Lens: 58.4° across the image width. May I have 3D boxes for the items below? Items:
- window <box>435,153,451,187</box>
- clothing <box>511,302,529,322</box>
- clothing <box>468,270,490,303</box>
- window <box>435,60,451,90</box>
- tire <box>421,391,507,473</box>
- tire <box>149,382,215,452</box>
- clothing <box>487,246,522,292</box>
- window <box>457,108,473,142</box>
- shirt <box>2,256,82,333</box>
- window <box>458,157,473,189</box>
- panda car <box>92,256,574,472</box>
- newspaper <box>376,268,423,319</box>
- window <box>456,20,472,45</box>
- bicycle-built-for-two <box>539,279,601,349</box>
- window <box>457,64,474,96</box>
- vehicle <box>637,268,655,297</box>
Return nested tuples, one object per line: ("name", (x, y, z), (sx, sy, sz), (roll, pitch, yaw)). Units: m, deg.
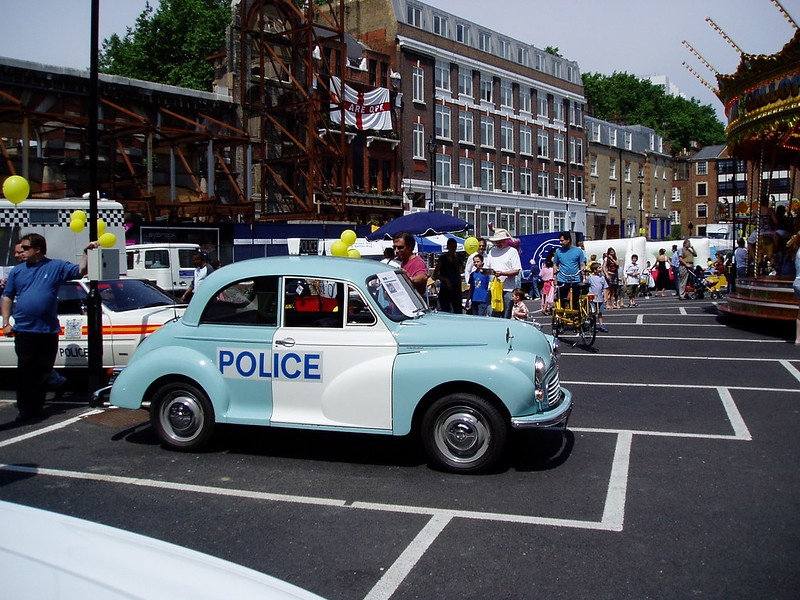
("window", (2.763, -8.705, 47.773), (0.231, 2.790, 2.220), (-2, -1, 27))
("clothing", (2.259, 0.224, 13.683), (0.385, 0.467, 0.273), (3, -12, -2))
("clothing", (1.460, -0.258, 13.162), (0.487, 0.677, 0.217), (-2, -4, 28))
("window", (2.775, -15.171, 48.045), (0.092, 2.151, 1.714), (-6, -14, 33))
("tire", (0.632, 1.286, 7.082), (0.652, 0.792, 0.283), (-5, 1, 15))
("tire", (-2.377, 1.247, 7.832), (0.645, 0.784, 0.271), (1, 3, 17))
("clothing", (1.876, -0.712, 13.164), (0.586, 0.777, 0.373), (7, 39, 18))
("window", (4.438, -12.268, 49.922), (0.176, 2.928, 2.346), (-2, -2, 27))
("shirt", (-4.678, -0.072, 9.353), (0.655, 1.056, 0.730), (-5, 11, -31))
("window", (4.462, -8.914, 49.982), (0.177, 2.794, 2.236), (-1, 0, 28))
("panda car", (-0.855, 0.626, 8.377), (5.052, 2.359, 2.310), (2, 1, 5))
("newspaper", (-0.030, -0.060, 7.873), (0.044, 0.443, 0.608), (-23, -5, 19))
("window", (4.414, -18.872, 50.480), (1.481, 1.392, 0.242), (-7, 9, -41))
("bicycle-built-for-two", (3.552, 0.256, 14.835), (1.064, 1.894, 1.263), (0, 6, 0))
("window", (4.478, -15.471, 50.001), (0.121, 2.830, 2.270), (-4, -1, 29))
("vehicle", (10.890, -0.802, 31.896), (0.791, 1.603, 1.497), (2, 15, 18))
